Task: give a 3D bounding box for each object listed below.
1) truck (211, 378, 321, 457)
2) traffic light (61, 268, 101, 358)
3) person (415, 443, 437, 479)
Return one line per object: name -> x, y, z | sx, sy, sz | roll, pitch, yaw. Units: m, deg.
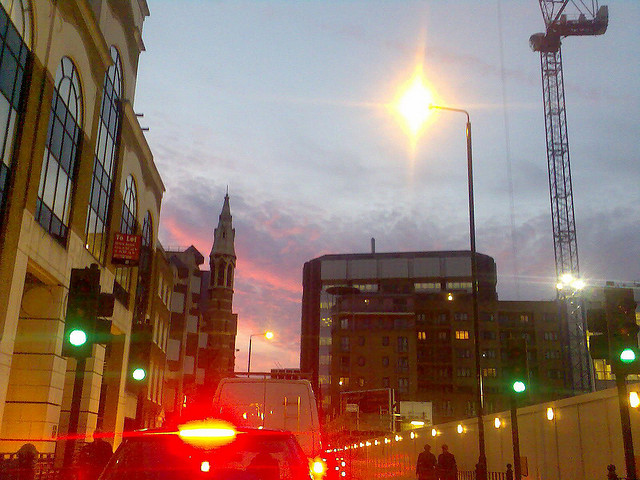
truck -> -1.711, 4.965, 16.618 | 2.284, 2.170, 3.928 | 0, -12, 4
traffic light -> -5.048, 1.471, 12.436 | 0.620, 1.921, 0.515 | 7, -23, -18
person -> 4.614, 9.596, 25.585 | 0.820, 1.449, 1.621 | -4, -24, 9
